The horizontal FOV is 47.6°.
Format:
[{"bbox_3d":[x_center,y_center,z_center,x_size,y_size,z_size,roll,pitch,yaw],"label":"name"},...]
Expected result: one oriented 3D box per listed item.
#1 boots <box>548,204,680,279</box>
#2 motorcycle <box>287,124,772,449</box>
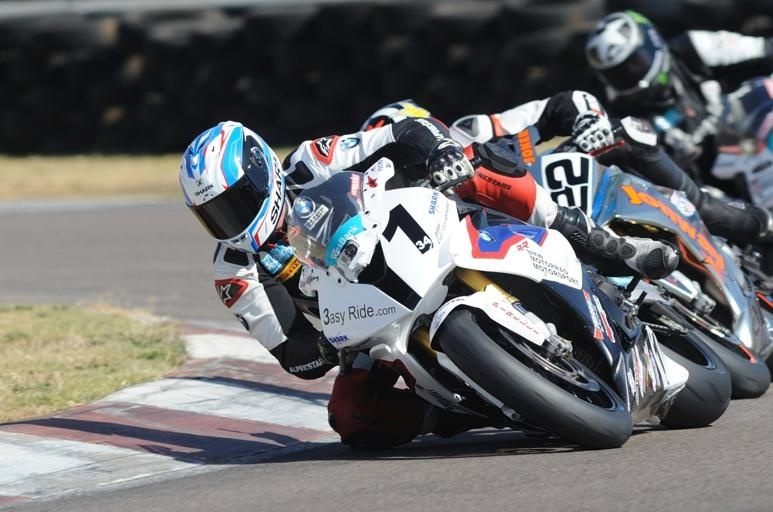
[{"bbox_3d":[1.311,-0.083,5.142,0.658,0.213,0.190,24,-16,-3],"label":"boots"},{"bbox_3d":[0.627,0.280,4.619,2.145,1.642,0.905,-6,11,-8],"label":"motorcycle"}]
